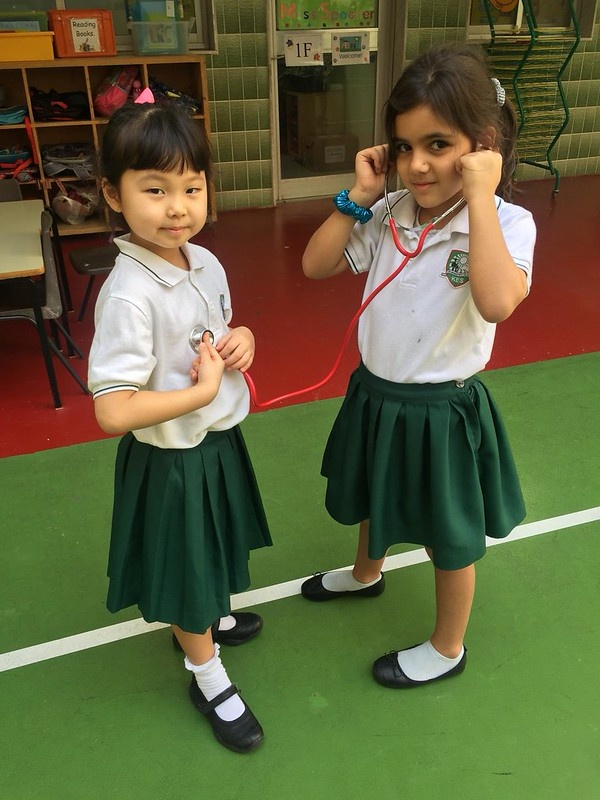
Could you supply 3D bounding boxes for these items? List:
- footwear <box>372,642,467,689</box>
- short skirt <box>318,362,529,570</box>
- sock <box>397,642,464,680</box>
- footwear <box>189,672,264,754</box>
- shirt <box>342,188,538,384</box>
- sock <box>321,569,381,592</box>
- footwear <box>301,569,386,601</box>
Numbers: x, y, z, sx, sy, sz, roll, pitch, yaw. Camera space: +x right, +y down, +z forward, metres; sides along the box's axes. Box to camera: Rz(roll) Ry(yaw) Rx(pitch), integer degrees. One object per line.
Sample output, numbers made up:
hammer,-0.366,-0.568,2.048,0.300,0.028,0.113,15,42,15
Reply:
footwear,0.266,0.618,1.371,0.222,0.082,0.092,-4,48,1
short skirt,0.242,0.093,1.279,0.437,0.320,0.385,17,31,38
sock,0.287,0.604,1.364,0.177,0.063,0.062,-12,-13,7
footwear,-0.163,0.664,1.296,0.097,0.087,0.219,-6,19,-43
shirt,0.244,-0.203,1.099,0.197,0.341,0.367,-22,29,-34
sock,0.134,0.492,1.666,0.177,0.064,0.061,-1,35,-1
footwear,0.120,0.508,1.681,0.232,0.077,0.088,-1,40,-2
